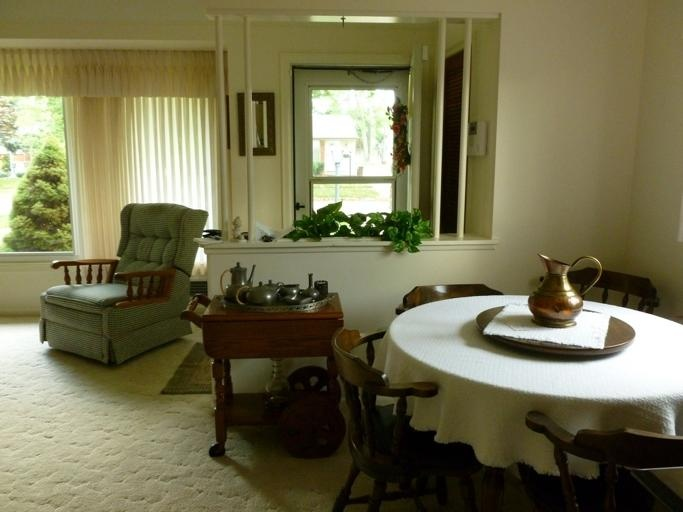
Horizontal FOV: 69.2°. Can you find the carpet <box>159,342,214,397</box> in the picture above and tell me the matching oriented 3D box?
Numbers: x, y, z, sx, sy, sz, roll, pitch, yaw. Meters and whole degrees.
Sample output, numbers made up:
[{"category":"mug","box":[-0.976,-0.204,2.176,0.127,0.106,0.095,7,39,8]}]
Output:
[{"category":"carpet","box":[-1.162,0.801,3.771,0.215,0.012,0.649,2,15,-4]}]

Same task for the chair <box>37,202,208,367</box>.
[{"category":"chair","box":[-1.920,0.175,4.380,0.980,1.144,1.206,7,10,15]}]

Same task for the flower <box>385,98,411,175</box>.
[{"category":"flower","box":[0.561,-1.166,4.843,0.184,0.726,0.296,-4,15,-15]}]

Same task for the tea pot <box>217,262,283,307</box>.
[{"category":"tea pot","box":[-0.525,0.150,2.893,0.246,0.228,0.336,0,0,42]}]

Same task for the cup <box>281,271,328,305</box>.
[{"category":"cup","box":[-0.229,0.188,2.908,0.232,0.106,0.164,0,2,-41]}]

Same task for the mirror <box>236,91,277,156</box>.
[{"category":"mirror","box":[-0.807,-1.228,4.642,0.339,0.591,0.047,-3,29,-11]}]

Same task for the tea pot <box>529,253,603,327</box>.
[{"category":"tea pot","box":[0.974,0.139,2.344,0.384,0.400,0.283,0,8,7]}]
